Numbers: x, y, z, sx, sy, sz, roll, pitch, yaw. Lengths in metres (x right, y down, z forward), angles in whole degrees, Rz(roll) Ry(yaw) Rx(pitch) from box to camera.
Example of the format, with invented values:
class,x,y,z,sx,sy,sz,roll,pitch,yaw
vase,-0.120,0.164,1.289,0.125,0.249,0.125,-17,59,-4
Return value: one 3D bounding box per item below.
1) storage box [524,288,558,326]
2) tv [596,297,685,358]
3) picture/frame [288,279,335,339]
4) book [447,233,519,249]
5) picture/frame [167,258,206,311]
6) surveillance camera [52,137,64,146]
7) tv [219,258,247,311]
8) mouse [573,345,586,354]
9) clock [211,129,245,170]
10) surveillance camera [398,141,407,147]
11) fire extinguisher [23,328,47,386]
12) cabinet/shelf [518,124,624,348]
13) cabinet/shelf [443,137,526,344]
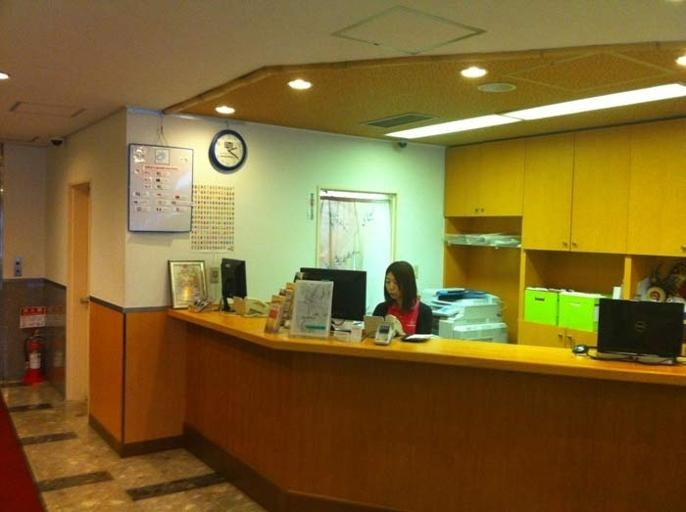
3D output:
class,x,y,z,sx,sy,sz,roll,pitch,yaw
storage box,1.971,0.508,5.824,0.180,0.334,0.337,-2,4,-34
tv,1.824,0.435,3.593,0.474,0.345,0.344,1,-3,19
picture/frame,-0.229,0.377,4.124,0.373,0.499,0.054,1,-11,13
book,1.583,-0.190,6.539,0.462,0.165,0.982,0,0,-28
picture/frame,-1.425,0.264,5.310,0.416,0.525,0.051,-7,2,-37
surveillance camera,-3.169,-1.281,6.533,0.088,0.022,0.081,6,-25,-31
tv,-0.969,0.259,5.218,0.152,0.438,0.425,-5,7,-36
mouse,1.526,0.600,3.782,0.053,0.028,0.077,-3,2,17
clock,-1.086,-1.013,5.485,0.390,0.415,0.078,1,0,-36
surveillance camera,0.656,-1.245,6.459,0.052,0.072,0.067,13,14,24
fire extinguisher,-3.830,1.246,7.312,0.234,0.666,0.251,0,0,-18
cabinet/shelf,2.299,-0.151,5.843,0.885,1.618,0.409,9,11,35
cabinet/shelf,1.628,-0.258,6.763,0.888,0.242,2.052,1,-43,16
